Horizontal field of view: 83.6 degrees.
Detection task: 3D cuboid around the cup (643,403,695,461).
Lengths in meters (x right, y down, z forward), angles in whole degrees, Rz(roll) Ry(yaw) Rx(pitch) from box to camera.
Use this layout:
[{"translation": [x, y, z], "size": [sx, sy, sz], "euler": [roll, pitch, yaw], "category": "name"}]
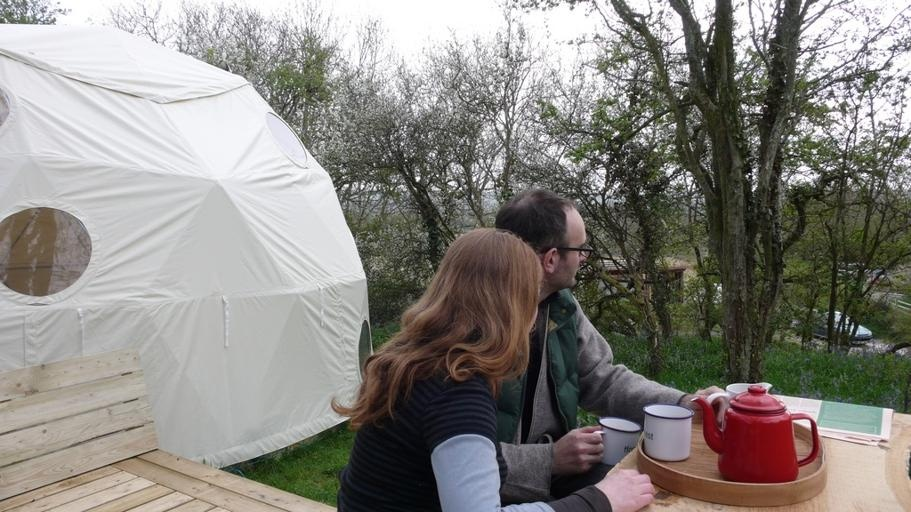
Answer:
[{"translation": [1.403, 1.171, 3.447], "size": [0.358, 0.292, 0.332], "euler": [1, 1, 0], "category": "cup"}]
